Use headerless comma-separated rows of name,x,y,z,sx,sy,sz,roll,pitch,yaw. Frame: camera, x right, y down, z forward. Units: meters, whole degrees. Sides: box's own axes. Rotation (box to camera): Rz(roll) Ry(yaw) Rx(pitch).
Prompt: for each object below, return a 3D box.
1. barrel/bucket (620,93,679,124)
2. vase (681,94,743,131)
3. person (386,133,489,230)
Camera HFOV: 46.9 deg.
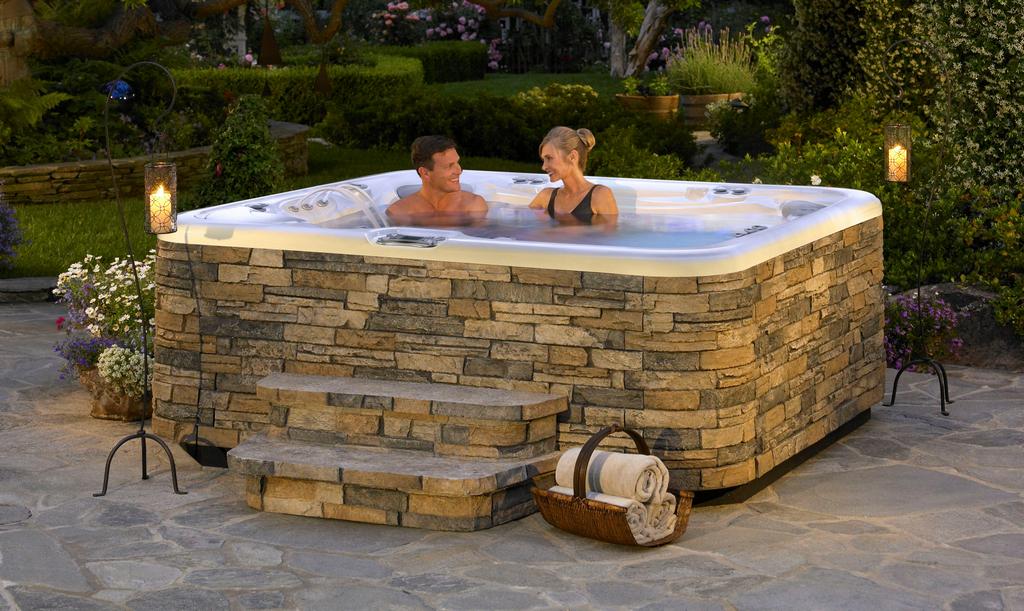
barrel/bucket,2.388,-3.415,20.236,1.074,0.474,1.103,0,10,0
vase,3.231,-3.245,19.889,1.192,0.618,0.800,8,15,29
person,-0.648,-0.937,9.954,1.069,1.019,0.493,2,0,-20
